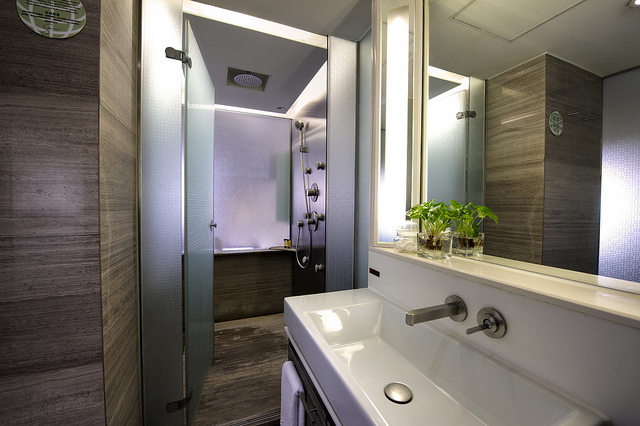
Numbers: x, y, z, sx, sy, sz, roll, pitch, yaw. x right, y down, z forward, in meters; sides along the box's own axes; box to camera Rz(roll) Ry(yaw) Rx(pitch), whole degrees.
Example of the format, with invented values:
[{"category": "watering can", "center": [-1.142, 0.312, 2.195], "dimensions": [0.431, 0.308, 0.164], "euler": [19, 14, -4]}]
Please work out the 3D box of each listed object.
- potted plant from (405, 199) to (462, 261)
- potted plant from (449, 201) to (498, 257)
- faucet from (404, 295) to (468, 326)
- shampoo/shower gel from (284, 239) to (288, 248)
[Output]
[{"category": "potted plant", "center": [0.584, 0.075, 2.092], "dimensions": [0.305, 0.299, 0.250], "euler": [-1, 3, -13]}, {"category": "potted plant", "center": [0.755, 0.088, 2.109], "dimensions": [0.278, 0.273, 0.263], "euler": [4, -4, -24]}, {"category": "faucet", "center": [0.498, 0.397, 1.740], "dimensions": [0.251, 0.134, 0.137], "euler": [-3, 3, -27]}, {"category": "shampoo/shower gel", "center": [-0.357, 0.319, 4.211], "dimensions": [0.048, 0.077, 0.111], "euler": [-1, 1, -8]}]
